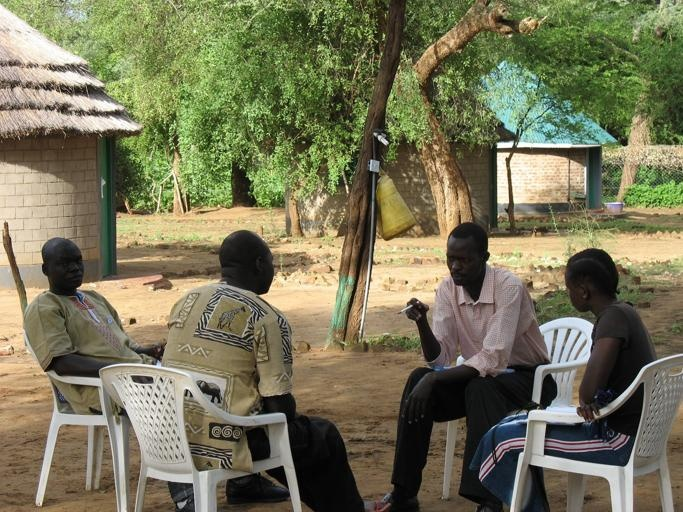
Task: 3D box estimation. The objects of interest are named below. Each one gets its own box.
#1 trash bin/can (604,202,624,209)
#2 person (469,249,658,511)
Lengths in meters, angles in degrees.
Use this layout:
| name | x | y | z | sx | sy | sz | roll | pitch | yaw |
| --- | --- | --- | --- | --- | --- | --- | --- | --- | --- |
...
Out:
| name | x | y | z | sx | sy | sz | roll | pitch | yaw |
| --- | --- | --- | --- | --- | --- | --- | --- | --- | --- |
| trash bin/can | 10.294 | -1.921 | 32.543 | 0.540 | 0.225 | 0.826 | 2 | 5 | 28 |
| person | 1.467 | 0.800 | 5.519 | 1.002 | 1.686 | 0.432 | 2 | 6 | 20 |
